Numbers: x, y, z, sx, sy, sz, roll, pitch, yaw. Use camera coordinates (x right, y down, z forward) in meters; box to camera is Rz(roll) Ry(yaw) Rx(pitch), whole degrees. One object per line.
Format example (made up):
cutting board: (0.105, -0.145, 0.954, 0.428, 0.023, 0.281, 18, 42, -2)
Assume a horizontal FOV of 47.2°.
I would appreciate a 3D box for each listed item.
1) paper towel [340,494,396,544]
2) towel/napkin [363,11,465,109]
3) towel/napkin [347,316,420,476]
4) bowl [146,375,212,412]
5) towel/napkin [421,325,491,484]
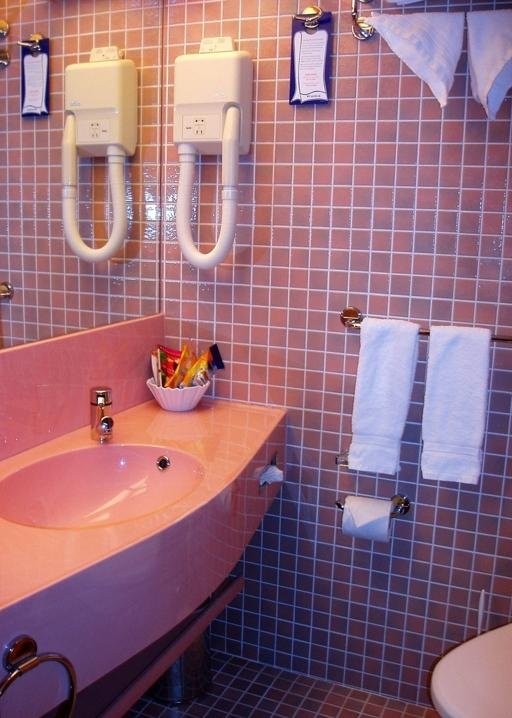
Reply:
paper towel: (0.270, 0.390, 1.432, 0.117, 0.108, 0.087, 4, 6, 26)
towel/napkin: (0.333, -0.622, 1.222, 0.207, 0.194, 0.111, 4, 9, 4)
towel/napkin: (0.293, 0.084, 1.342, 0.120, 0.347, 0.102, 9, 11, 30)
bowl: (-0.197, 0.100, 1.479, 0.141, 0.075, 0.084, 1, 10, -14)
towel/napkin: (0.429, 0.099, 1.267, 0.119, 0.324, 0.055, 4, 9, 3)
